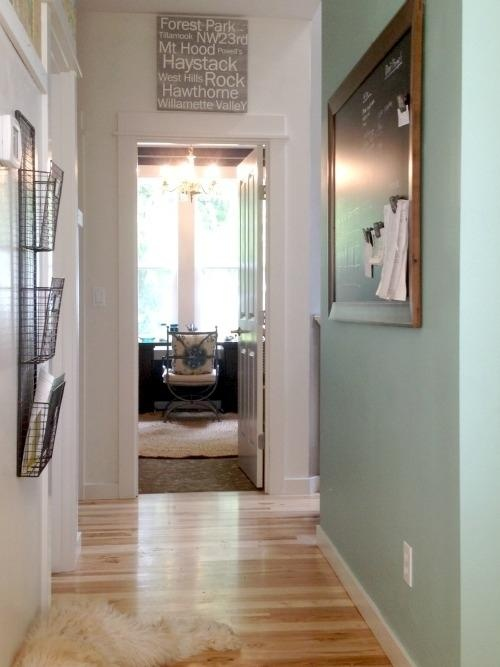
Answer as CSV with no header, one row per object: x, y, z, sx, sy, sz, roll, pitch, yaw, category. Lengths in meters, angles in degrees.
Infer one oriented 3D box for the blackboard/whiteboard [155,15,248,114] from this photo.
-0.309,-1.598,3.218,0.418,0.505,0.055,0,1,-2,blackboard/whiteboard

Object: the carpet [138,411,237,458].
-0.569,0.888,5.010,0.974,0.121,1.629,1,0,-7,carpet

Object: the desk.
-0.658,0.569,6.043,0.601,1.114,0.719,1,2,-12,desk

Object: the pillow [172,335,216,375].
-0.594,0.229,5.724,0.293,0.394,0.119,0,10,-4,pillow
